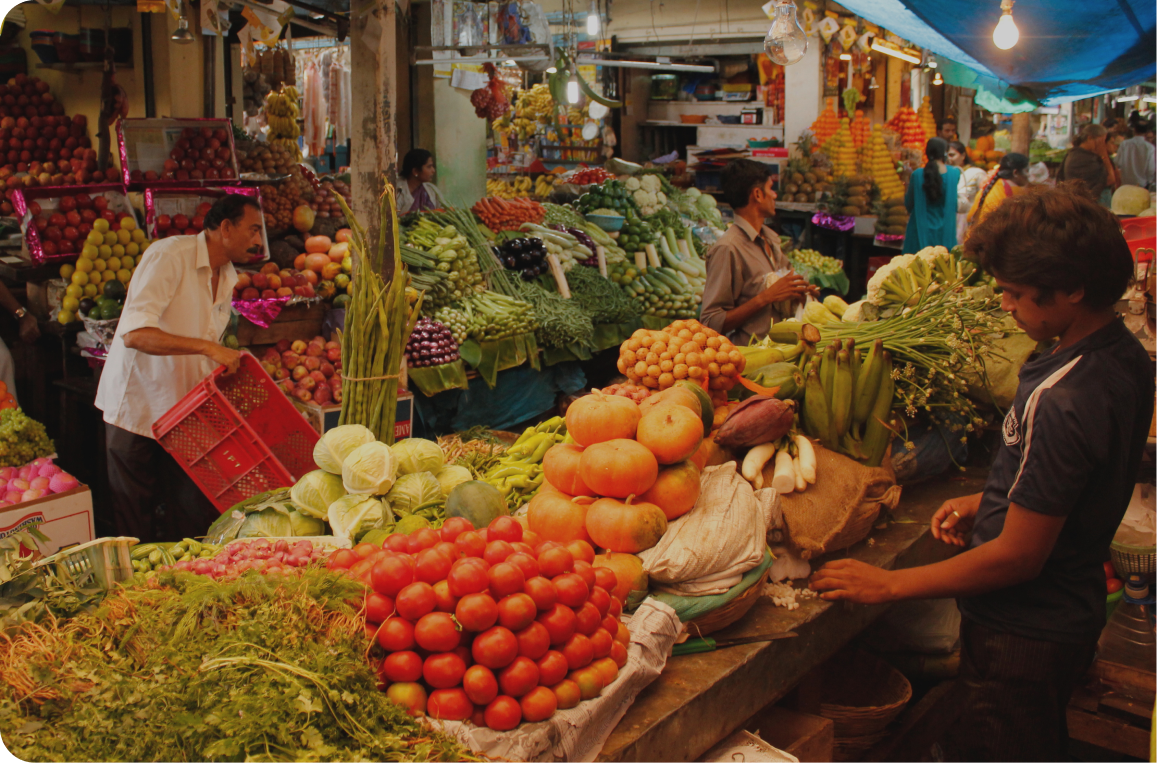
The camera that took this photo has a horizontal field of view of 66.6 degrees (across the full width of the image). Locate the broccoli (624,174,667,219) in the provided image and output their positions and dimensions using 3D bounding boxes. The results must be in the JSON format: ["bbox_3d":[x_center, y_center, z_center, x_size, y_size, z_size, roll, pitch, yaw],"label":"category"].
[{"bbox_3d":[0.703,-1.916,9.053,0.475,0.186,0.468,-14,54,-48],"label":"broccoli"}]

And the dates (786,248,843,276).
[{"bbox_3d":[2.378,-1.200,8.912,0.467,0.175,0.433,9,15,27],"label":"dates"}]

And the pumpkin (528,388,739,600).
[{"bbox_3d":[0.160,0.368,3.279,0.606,0.725,0.535,0,1,-19],"label":"pumpkin"}]

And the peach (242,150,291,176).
[{"bbox_3d":[-2.987,-2.069,8.309,0.314,0.148,0.421,4,9,-3],"label":"peach"}]

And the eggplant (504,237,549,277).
[{"bbox_3d":[-0.469,-1.030,7.433,0.397,0.328,0.241,1,13,-7],"label":"eggplant"}]

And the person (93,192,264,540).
[{"bbox_3d":[-2.375,-0.092,4.987,0.873,2.490,0.884,5,9,30],"label":"person"}]

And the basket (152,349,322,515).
[{"bbox_3d":[-1.573,0.280,4.323,0.697,0.877,0.626,-2,-6,11],"label":"basket"}]

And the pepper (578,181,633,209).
[{"bbox_3d":[0.262,-1.814,8.699,0.306,0.221,0.418,-1,8,1],"label":"pepper"}]

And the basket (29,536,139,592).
[{"bbox_3d":[-1.627,0.616,2.945,0.224,0.085,0.164,-14,-14,0],"label":"basket"}]

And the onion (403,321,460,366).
[{"bbox_3d":[-1.052,-0.254,6.327,0.375,0.295,0.373,8,9,37],"label":"onion"}]

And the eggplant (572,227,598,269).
[{"bbox_3d":[0.061,-1.213,7.965,0.119,0.377,0.197,-30,-23,30],"label":"eggplant"}]

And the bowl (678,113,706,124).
[{"bbox_3d":[1.757,-4.042,13.575,0.409,0.157,0.139,11,16,32],"label":"bowl"}]

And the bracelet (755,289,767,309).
[{"bbox_3d":[1.062,-0.479,5.117,0.062,0.097,0.083,5,13,14],"label":"bracelet"}]

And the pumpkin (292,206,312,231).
[{"bbox_3d":[-2.331,-1.357,7.367,0.179,0.211,0.155,4,13,9],"label":"pumpkin"}]

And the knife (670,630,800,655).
[{"bbox_3d":[0.559,0.946,3.177,0.477,0.046,0.054,-1,14,-14],"label":"knife"}]

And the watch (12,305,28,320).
[{"bbox_3d":[-4.196,-0.503,6.576,0.088,0.093,0.056,5,10,34],"label":"watch"}]

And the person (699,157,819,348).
[{"bbox_3d":[1.075,-0.778,5.284,0.627,1.084,0.763,4,13,10],"label":"person"}]

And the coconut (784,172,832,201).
[{"bbox_3d":[2.820,-2.456,11.056,0.414,0.171,0.411,-11,33,-25],"label":"coconut"}]
